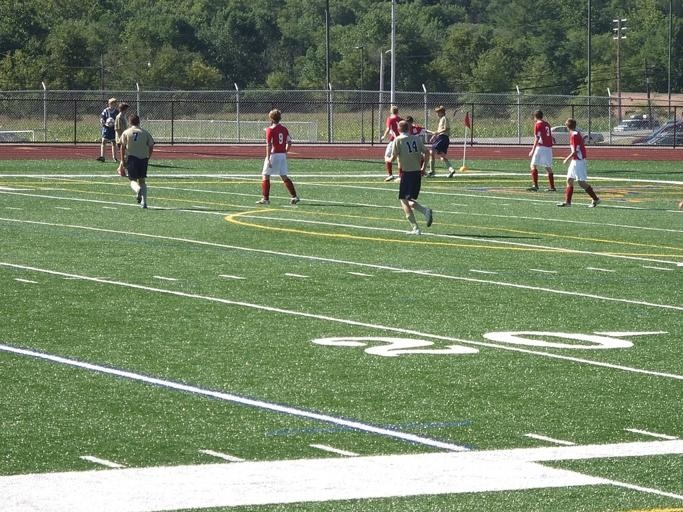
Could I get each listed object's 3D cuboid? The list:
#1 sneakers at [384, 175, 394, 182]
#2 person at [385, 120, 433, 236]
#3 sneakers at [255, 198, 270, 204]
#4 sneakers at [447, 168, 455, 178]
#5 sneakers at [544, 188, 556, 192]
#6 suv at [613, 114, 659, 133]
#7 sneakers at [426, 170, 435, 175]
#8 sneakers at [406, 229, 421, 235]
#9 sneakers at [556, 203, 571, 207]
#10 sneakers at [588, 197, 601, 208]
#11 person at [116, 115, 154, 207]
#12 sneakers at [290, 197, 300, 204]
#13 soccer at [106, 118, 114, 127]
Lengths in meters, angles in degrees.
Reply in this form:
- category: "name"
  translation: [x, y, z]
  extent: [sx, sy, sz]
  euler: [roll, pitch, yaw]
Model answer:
- category: "sneakers"
  translation: [1.134, -1.822, 34.583]
  extent: [0.104, 0.128, 0.318]
  euler: [1, 8, -20]
- category: "person"
  translation: [1.088, -1.266, 23.622]
  extent: [0.766, 1.810, 1.086]
  euler: [-4, 7, -44]
- category: "sneakers"
  translation: [-1.483, -1.038, 27.745]
  extent: [0.297, 0.113, 0.096]
  euler: [5, 11, 16]
- category: "sneakers"
  translation: [2.677, -2.036, 35.689]
  extent: [0.108, 0.177, 0.274]
  euler: [-10, -11, -8]
- category: "sneakers"
  translation: [4.626, -1.469, 32.622]
  extent: [0.078, 0.087, 0.221]
  euler: [-4, 8, -35]
- category: "suv"
  translation: [15.252, -6.757, 75.995]
  extent: [2.782, 0.819, 1.438]
  euler: [-4, 4, -24]
- category: "sneakers"
  translation: [2.237, -2.066, 36.514]
  extent: [0.102, 0.109, 0.266]
  euler: [2, 6, -9]
- category: "sneakers"
  translation: [1.181, -0.400, 23.990]
  extent: [0.080, 0.091, 0.233]
  euler: [-8, 12, -42]
- category: "sneakers"
  translation: [4.331, -1.005, 28.771]
  extent: [0.267, 0.099, 0.091]
  euler: [6, 7, 4]
- category: "sneakers"
  translation: [5.003, -1.065, 29.009]
  extent: [0.172, 0.129, 0.393]
  euler: [42, 31, 6]
- category: "person"
  translation: [-3.692, -1.704, 26.744]
  extent: [0.517, 1.683, 0.526]
  euler: [8, 14, 31]
- category: "sneakers"
  translation: [-0.865, -1.086, 28.145]
  extent: [0.163, 0.074, 0.225]
  euler: [18, -14, 0]
- category: "soccer"
  translation: [-5.748, -3.347, 36.919]
  extent: [0.157, 0.170, 0.187]
  euler: [0, 13, -1]
